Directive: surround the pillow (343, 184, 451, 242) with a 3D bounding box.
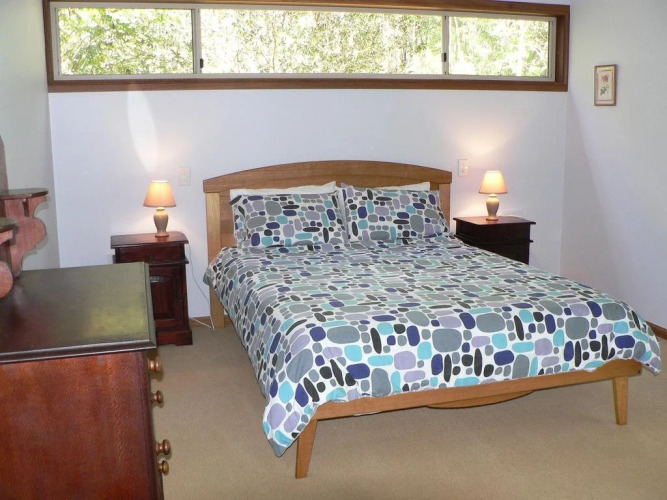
[{"bbox_3d":[0.524,-0.301,4.336,0.895,0.407,0.363,-3,14,-8],"label":"pillow"}]

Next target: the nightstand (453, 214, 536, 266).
[{"bbox_3d":[1.404,-0.145,4.753,0.553,0.702,0.443,-6,12,-28],"label":"nightstand"}]

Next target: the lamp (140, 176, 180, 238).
[{"bbox_3d":[-1.390,-0.336,4.238,0.240,0.437,0.346,-5,15,-18],"label":"lamp"}]

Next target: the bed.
[{"bbox_3d":[0.425,0.141,3.736,2.256,1.370,2.660,-6,15,-22],"label":"bed"}]

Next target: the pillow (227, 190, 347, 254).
[{"bbox_3d":[-0.358,-0.244,4.215,0.878,0.376,0.472,-4,14,-12],"label":"pillow"}]

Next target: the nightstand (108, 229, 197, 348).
[{"bbox_3d":[-1.470,0.274,4.298,0.588,0.882,0.502,-2,20,-14],"label":"nightstand"}]
